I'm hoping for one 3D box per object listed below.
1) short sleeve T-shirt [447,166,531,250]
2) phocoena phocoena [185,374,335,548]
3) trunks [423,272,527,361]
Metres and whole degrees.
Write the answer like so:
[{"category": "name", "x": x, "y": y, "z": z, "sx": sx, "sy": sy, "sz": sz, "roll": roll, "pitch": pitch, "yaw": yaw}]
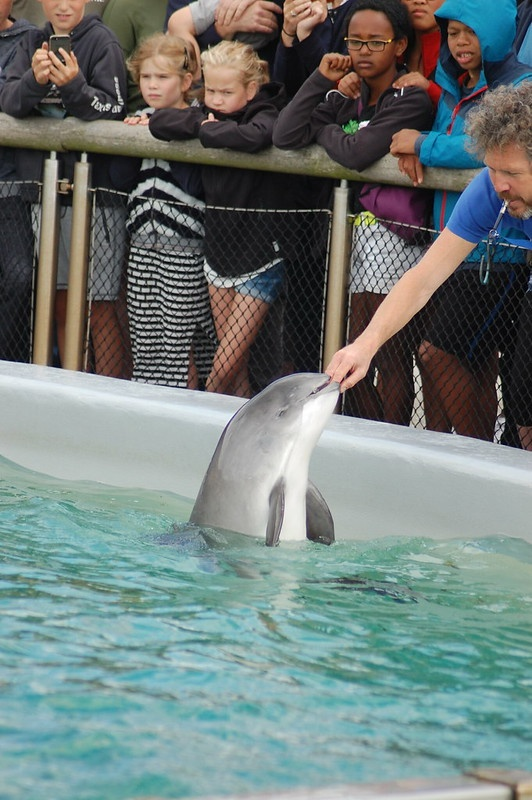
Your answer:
[{"category": "short sleeve T-shirt", "x": 0.546, "y": -0.448, "z": 2.118, "sx": 0.190, "sy": 0.180, "sz": 0.077, "roll": 35, "pitch": 38, "yaw": 21}, {"category": "phocoena phocoena", "x": -0.003, "y": 0.122, "z": 2.020, "sx": 0.248, "sy": 0.366, "sz": 0.257, "roll": 11, "pitch": 10, "yaw": 37}, {"category": "trunks", "x": 0.670, "y": -0.266, "z": 2.795, "sx": 0.201, "sy": 0.250, "sz": 0.152, "roll": 21, "pitch": 17, "yaw": -14}]
